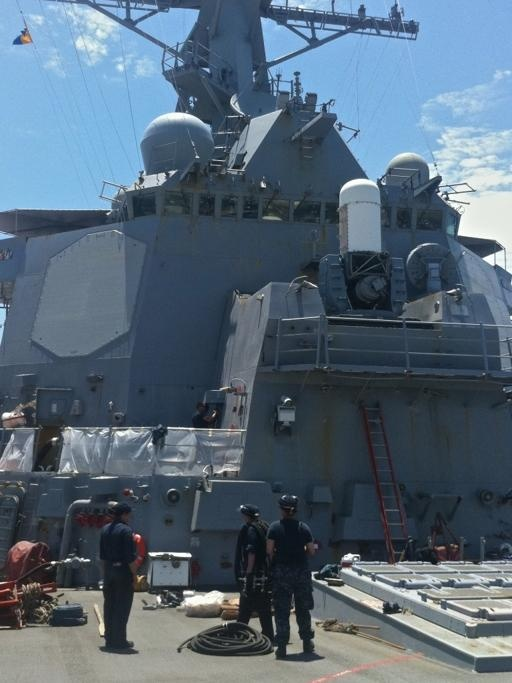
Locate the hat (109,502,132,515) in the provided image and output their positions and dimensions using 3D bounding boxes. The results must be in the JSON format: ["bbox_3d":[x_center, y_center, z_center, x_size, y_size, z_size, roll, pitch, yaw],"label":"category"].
[{"bbox_3d":[-1.346,1.688,7.966,0.202,0.084,0.141,-7,11,-42],"label":"hat"}]

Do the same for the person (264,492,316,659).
[{"bbox_3d":[0.327,2.118,7.327,0.445,1.363,0.632,4,-11,-6],"label":"person"}]

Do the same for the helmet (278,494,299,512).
[{"bbox_3d":[0.344,1.540,7.683,0.187,0.173,0.208,4,4,-17],"label":"helmet"}]

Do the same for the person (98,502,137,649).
[{"bbox_3d":[-1.318,2.207,7.615,0.341,1.281,0.565,6,-11,-14],"label":"person"}]

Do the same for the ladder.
[{"bbox_3d":[1.896,1.947,11.267,0.575,2.194,0.690,7,-12,-23],"label":"ladder"}]
